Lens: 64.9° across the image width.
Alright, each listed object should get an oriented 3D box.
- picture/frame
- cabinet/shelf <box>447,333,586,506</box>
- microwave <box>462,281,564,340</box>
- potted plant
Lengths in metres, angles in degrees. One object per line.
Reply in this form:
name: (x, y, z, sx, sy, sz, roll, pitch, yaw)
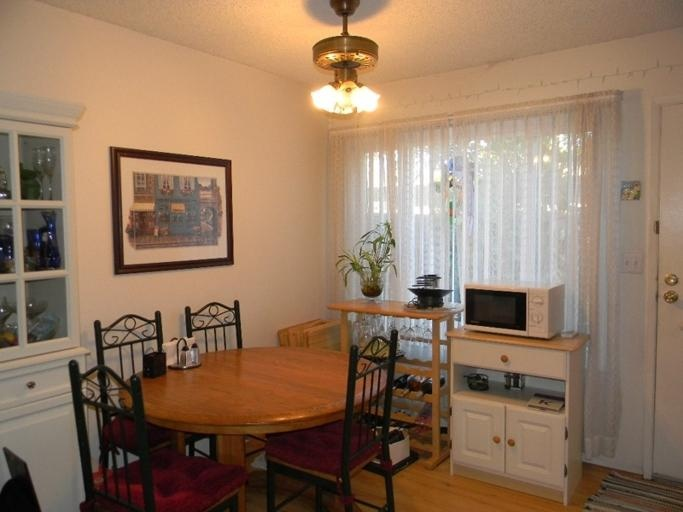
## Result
picture/frame: (-1.317, -0.350, 4.055, 0.041, 0.971, 1.004, 4, 5, 43)
cabinet/shelf: (1.243, 1.173, 3.800, 1.079, 1.340, 0.684, -1, -3, 31)
microwave: (1.211, 0.347, 4.047, 0.640, 0.394, 0.484, 1, 14, 6)
potted plant: (0.235, 0.002, 4.934, 0.493, 0.647, 0.721, -4, 13, -13)
